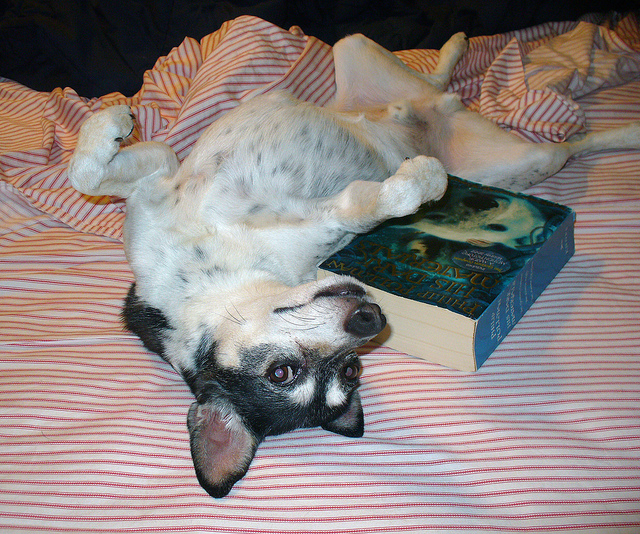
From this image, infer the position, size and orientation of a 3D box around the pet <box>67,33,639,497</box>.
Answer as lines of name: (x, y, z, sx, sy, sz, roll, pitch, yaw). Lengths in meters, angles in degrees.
pet: (-0.123, 0.059, 3.546, 2.644, 0.822, 1.770, -39, 71, -9)
